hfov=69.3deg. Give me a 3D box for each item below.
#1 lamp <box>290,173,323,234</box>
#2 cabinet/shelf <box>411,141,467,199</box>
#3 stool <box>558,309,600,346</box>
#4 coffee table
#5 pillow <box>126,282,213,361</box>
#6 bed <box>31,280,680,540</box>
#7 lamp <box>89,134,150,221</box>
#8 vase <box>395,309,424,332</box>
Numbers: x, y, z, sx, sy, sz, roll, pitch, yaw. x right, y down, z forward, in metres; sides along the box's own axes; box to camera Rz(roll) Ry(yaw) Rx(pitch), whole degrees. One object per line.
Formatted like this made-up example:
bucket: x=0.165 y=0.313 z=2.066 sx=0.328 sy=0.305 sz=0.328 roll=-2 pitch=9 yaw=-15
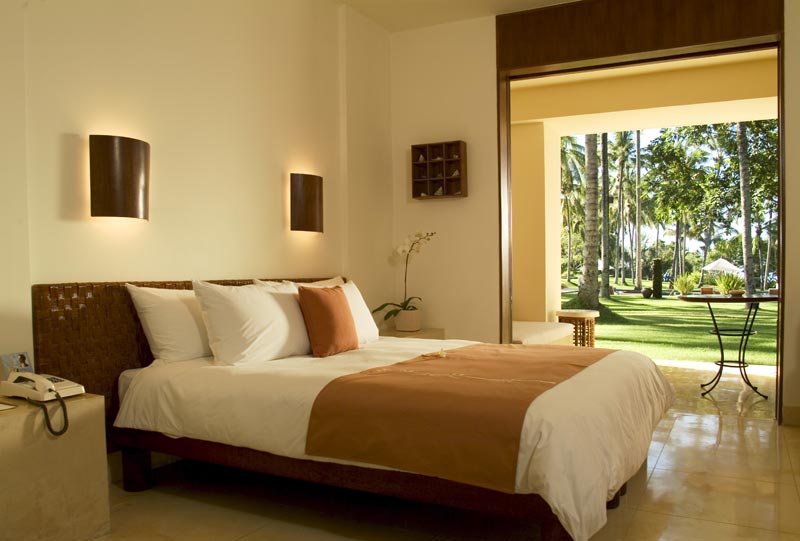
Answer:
lamp: x=-0.909 y=-0.629 z=5.286 sx=0.521 sy=0.519 sz=0.200 roll=-3 pitch=15 yaw=-19
cabinet/shelf: x=0.436 y=-1.059 z=6.099 sx=0.586 sy=0.582 sz=0.156 roll=-3 pitch=-6 yaw=30
stool: x=2.615 y=0.756 z=8.301 sx=0.600 sy=0.700 sz=0.632 roll=0 pitch=1 yaw=8
coffee table: x=4.600 y=1.043 z=8.111 sx=1.062 sy=1.091 sz=1.086 roll=-1 pitch=-2 yaw=17
pillow: x=-1.568 y=0.344 z=4.004 sx=0.154 sy=0.508 sz=0.541 roll=-25 pitch=-20 yaw=36
bed: x=-0.124 y=0.836 z=3.519 sx=2.343 sy=0.960 sz=2.144 roll=-1 pitch=-2 yaw=24
lamp: x=-1.907 y=-0.646 z=4.044 sx=0.301 sy=0.532 sz=0.536 roll=4 pitch=9 yaw=-2
vase: x=0.094 y=0.514 z=6.073 sx=0.227 sy=0.166 sz=0.224 roll=0 pitch=-1 yaw=4
